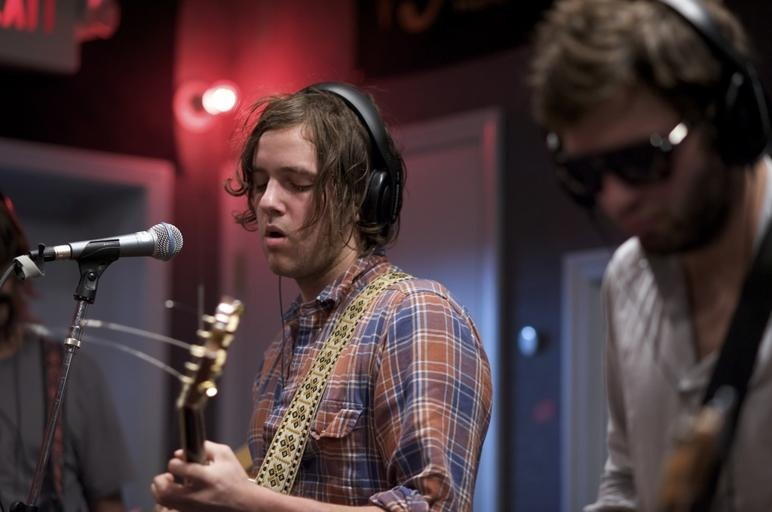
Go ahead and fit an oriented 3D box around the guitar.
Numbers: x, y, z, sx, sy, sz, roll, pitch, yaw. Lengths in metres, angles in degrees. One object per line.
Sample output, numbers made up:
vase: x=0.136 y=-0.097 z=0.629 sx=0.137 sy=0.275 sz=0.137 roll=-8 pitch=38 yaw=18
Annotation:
guitar: x=-0.433 y=0.303 z=2.266 sx=0.122 sy=0.385 sz=0.239 roll=6 pitch=-10 yaw=-15
